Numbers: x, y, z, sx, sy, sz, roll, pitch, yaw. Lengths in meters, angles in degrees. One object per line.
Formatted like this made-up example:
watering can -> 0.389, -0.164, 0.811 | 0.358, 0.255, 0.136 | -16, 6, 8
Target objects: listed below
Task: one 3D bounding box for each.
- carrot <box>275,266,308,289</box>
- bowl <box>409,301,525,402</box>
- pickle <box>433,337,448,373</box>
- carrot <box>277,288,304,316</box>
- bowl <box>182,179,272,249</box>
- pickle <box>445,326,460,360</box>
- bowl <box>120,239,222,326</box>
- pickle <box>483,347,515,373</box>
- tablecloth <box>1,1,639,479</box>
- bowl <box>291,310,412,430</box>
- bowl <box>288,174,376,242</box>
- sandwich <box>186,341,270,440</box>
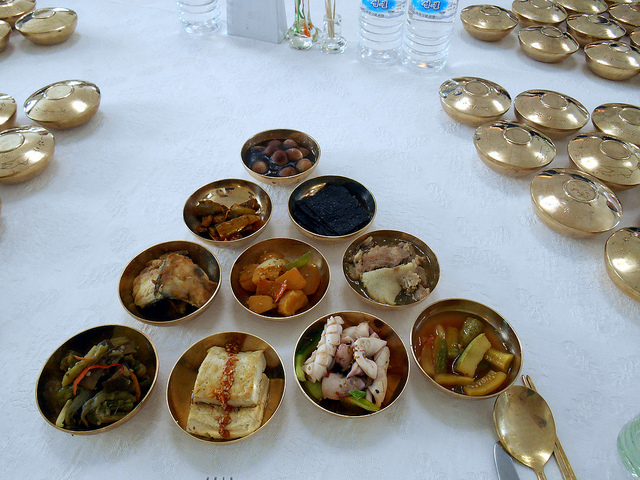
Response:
carrot -> -0.101, 0.143, 1.744 | 0.110, 0.053, 0.059 | -19, 57, -13
bowl -> 0.480, 0.365, 1.669 | 0.368, 0.072, 0.330 | 3, 56, 1
pickle -> 0.408, 0.385, 1.688 | 0.037, 0.042, 0.117 | 9, 58, 4
carrot -> -0.101, 0.208, 1.727 | 0.068, 0.039, 0.107 | 35, 62, 21
bowl -> -0.355, -0.095, 1.950 | 0.340, 0.114, 0.316 | 0, 56, -1
pickle -> 0.448, 0.349, 1.688 | 0.041, 0.032, 0.098 | 3, 57, -1
bowl -> -0.533, 0.133, 1.773 | 0.353, 0.100, 0.287 | -17, 58, -12
pickle -> 0.592, 0.399, 1.652 | 0.086, 0.035, 0.056 | 28, 75, 23
tablecloth -> -0.007, -0.213, 2.083 | 2.657, 0.245, 2.297 | 4, 56, 2
bowl -> 0.100, 0.403, 1.624 | 0.376, 0.109, 0.341 | 2, 56, 0
bowl -> 0.045, -0.130, 1.956 | 0.330, 0.059, 0.328 | 0, 56, -1
sandwich -> -0.294, 0.474, 1.611 | 0.239, 0.093, 0.304 | 6, 45, 9
